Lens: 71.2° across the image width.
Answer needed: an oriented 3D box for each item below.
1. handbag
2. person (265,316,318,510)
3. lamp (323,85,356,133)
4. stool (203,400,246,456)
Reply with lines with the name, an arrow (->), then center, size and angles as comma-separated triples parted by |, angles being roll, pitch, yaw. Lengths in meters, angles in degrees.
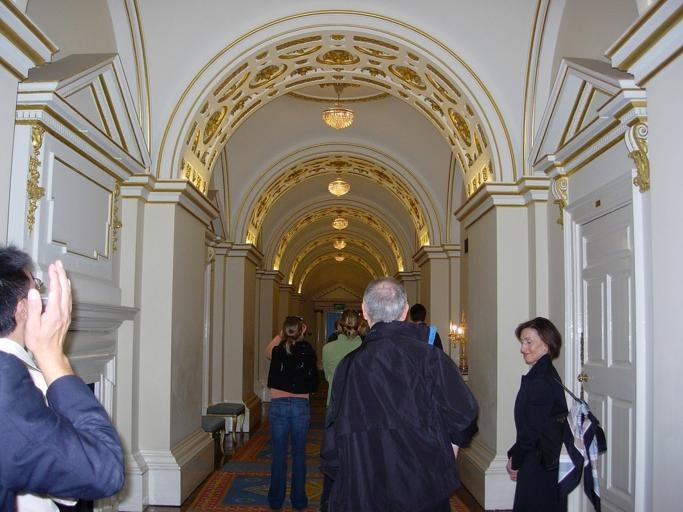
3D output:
handbag -> 1.653, 1.216, 3.369 | 0.159, 0.518, 0.353 | -6, -6, -24
person -> -0.609, 1.872, 5.644 | 0.596, 2.222, 0.656 | 8, -17, -34
lamp -> -0.068, -2.673, 8.500 | 0.460, 0.836, 0.496 | 1, 27, -4
stool -> -2.179, 3.179, 9.141 | 0.680, 0.892, 0.892 | 2, -2, 2
